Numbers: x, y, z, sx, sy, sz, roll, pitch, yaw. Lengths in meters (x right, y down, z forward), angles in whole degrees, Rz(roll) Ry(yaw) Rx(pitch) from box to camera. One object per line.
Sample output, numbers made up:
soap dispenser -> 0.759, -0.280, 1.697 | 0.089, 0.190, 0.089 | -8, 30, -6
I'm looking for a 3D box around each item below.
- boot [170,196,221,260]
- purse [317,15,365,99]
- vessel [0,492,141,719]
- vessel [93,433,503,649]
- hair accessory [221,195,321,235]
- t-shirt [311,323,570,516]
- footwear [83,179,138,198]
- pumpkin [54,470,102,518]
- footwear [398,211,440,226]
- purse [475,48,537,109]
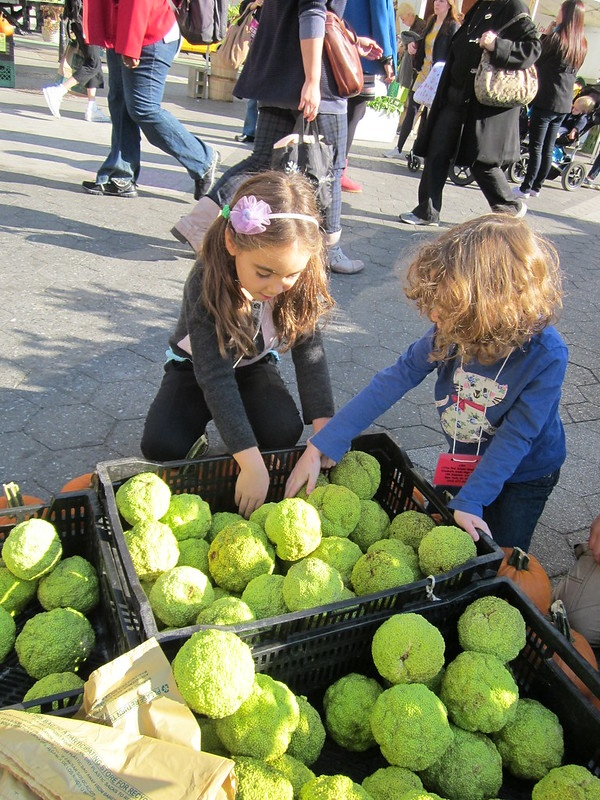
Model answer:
boot -> -0.684, -1.167, 4.437 | 0.287, 0.544, 0.791 | -5, 32, -3
purse -> 0.251, -1.949, 3.585 | 0.220, 0.414, 0.384 | 13, 25, 11
vessel -> -0.540, 0.441, 1.513 | 0.389, 0.180, 0.508 | -13, 71, -11
vessel -> 0.040, 0.353, 1.528 | 0.747, 0.210, 0.535 | -8, 39, -29
hair accessory -> -0.088, -0.502, 1.822 | 0.200, 0.072, 0.134 | 0, 8, -45
t-shirt -> 0.498, 0.094, 2.179 | 0.567, 0.611, 0.487 | -32, 66, -5
footwear -> -1.624, -1.818, 5.464 | 0.435, 0.182, 0.161 | 3, 24, -5
pumpkin -> -0.646, 0.248, 1.822 | 0.130, 0.058, 0.174 | -5, 26, 6
footwear -> 1.173, -1.721, 6.077 | 0.399, 0.165, 0.149 | 9, 15, -14
purse -> 1.568, -2.442, 4.828 | 0.477, 0.443, 0.215 | 5, 6, 0
